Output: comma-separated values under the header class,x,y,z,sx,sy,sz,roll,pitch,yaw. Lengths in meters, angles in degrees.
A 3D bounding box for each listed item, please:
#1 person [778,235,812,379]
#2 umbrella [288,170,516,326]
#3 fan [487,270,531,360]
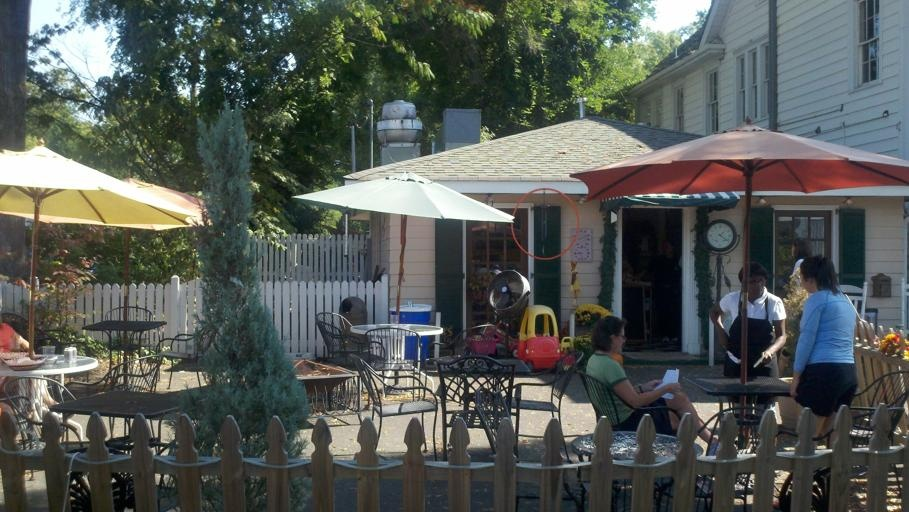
class,x,y,z,sx,sy,sz,roll,pitch,yaw
person,8.029,1.134,35.637,0.998,3.490,0.922,1,1,18
umbrella,-1.227,-0.254,35.456,5.319,3.343,4.701,2,4,-37
fan,1.252,1.423,37.144,1.009,2.064,0.753,3,11,24
